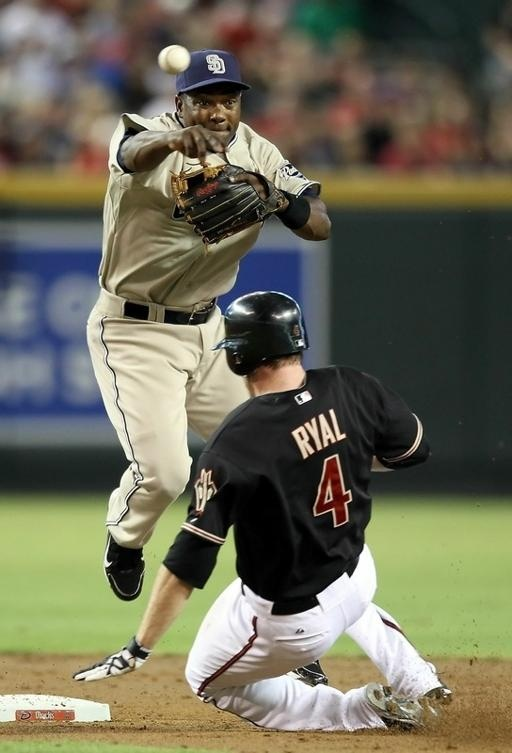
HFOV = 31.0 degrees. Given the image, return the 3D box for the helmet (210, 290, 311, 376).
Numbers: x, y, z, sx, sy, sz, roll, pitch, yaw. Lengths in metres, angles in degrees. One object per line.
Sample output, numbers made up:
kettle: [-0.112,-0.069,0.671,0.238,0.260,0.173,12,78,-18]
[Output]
helmet: [0.046,-0.123,2.306,0.262,0.175,0.180,-2,6,21]

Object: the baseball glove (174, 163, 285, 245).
baseball glove: [-0.089,-0.482,2.645,0.294,0.190,0.126,23,-7,-16]

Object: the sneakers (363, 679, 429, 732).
sneakers: [0.354,0.870,2.438,0.158,0.057,0.113,26,35,17]

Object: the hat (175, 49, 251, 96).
hat: [-0.147,-0.941,2.828,0.147,0.090,0.173,-3,5,-12]

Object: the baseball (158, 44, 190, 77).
baseball: [-0.231,-0.911,2.654,0.078,0.092,0.124,-3,-8,3]

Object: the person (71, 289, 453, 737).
person: [0.081,0.367,2.371,0.729,1.157,0.487,5,-12,-40]

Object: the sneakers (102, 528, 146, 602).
sneakers: [-0.476,0.687,3.315,0.120,0.294,0.127,-1,5,-18]

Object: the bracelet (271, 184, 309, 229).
bracelet: [0.103,-0.516,2.814,0.089,0.099,0.092,16,-18,-35]
